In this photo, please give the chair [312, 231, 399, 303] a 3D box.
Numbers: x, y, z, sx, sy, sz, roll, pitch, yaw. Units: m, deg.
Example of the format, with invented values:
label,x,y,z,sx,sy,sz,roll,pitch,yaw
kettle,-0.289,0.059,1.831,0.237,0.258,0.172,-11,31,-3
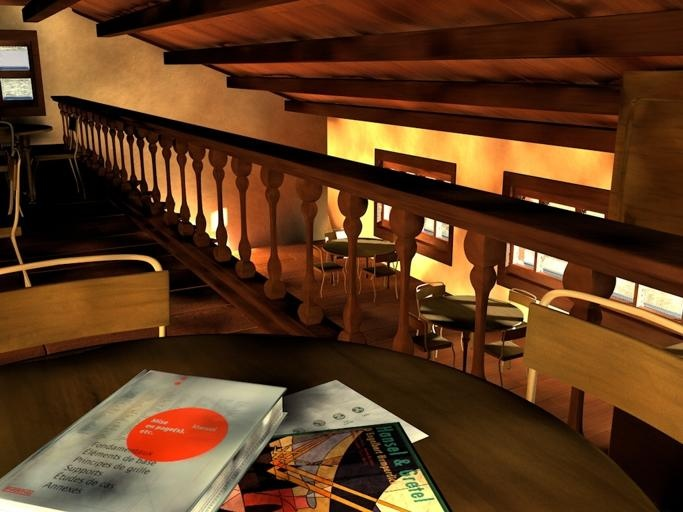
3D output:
label,x,y,z,sx,sy,sz,roll,pitch,yaw
chair,0.320,0.058,8.398,1.543,0.532,1.377,-7,18,-24
